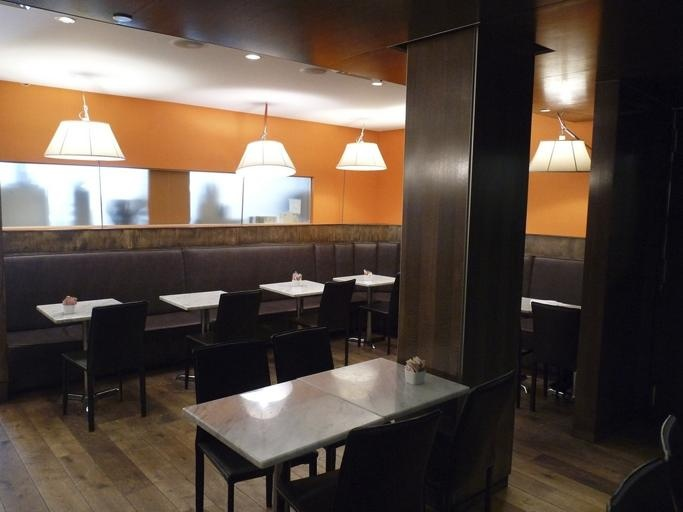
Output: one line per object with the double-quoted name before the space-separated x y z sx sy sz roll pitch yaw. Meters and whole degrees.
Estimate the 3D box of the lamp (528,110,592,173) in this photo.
"lamp" 2.389 -1.231 6.145 0.562 0.622 1.026 6 14 18

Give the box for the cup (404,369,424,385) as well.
"cup" 0.475 0.783 3.652 0.105 0.069 0.083 0 2 -28

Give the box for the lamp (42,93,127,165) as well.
"lamp" -2.741 -1.240 5.915 0.673 0.568 1.326 -5 15 -27

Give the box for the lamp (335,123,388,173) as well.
"lamp" 0.254 -1.262 7.196 0.652 0.760 0.712 -4 6 -44

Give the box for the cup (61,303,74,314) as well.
"cup" -2.399 0.466 4.931 0.087 0.068 0.082 0 -4 0

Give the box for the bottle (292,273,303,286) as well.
"bottle" -0.530 0.287 6.688 0.095 0.146 0.085 11 15 31
